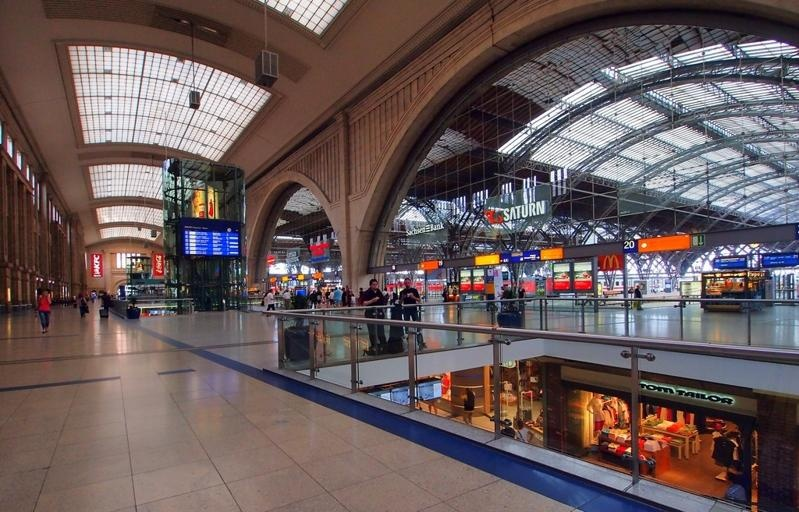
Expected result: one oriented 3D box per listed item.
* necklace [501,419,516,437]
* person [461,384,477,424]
[{"bbox_3d":[2.201,3.520,10.726,0.265,0.354,0.123,-12,6,21],"label":"necklace"},{"bbox_3d":[1.542,3.241,11.618,0.287,0.642,0.872,-3,-3,7],"label":"person"}]
